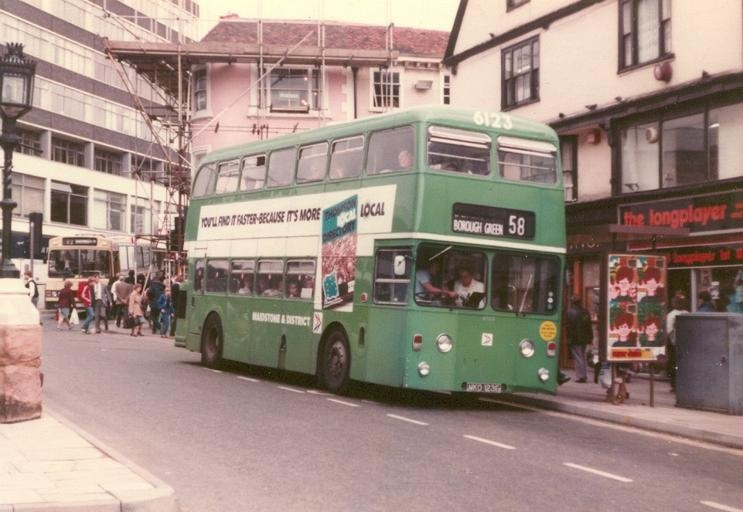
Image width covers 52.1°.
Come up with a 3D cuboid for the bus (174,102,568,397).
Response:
[{"bbox_3d":[-1.134,-0.022,18.854,11.760,6.086,3.546,2,0,42],"label":"bus"}]

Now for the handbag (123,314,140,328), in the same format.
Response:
[{"bbox_3d":[-9.752,2.691,31.029,0.285,0.626,0.777,-16,8,-42],"label":"handbag"}]

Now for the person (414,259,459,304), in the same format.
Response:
[{"bbox_3d":[1.218,0.525,14.967,0.758,0.864,0.588,0,3,-14],"label":"person"}]
